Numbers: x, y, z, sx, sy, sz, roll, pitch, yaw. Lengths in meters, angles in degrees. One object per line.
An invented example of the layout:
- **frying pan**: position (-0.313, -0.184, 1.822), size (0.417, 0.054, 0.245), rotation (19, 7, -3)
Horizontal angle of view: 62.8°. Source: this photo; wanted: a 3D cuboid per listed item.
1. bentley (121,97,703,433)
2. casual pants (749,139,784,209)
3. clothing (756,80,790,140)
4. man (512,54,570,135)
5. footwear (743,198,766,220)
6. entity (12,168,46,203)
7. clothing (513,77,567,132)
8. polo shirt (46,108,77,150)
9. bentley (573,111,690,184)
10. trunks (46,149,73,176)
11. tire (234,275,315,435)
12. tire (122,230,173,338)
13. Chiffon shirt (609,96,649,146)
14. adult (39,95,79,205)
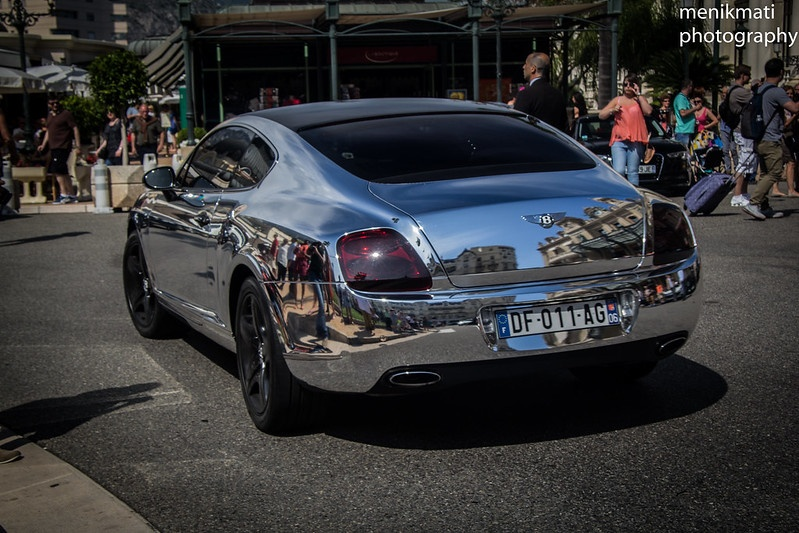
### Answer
- **bentley**: position (-0.380, -0.130, 4.562), size (2.182, 1.113, 3.329), rotation (-3, 10, -26)
- **casual pants**: position (6.732, -1.714, 11.944), size (0.446, 1.167, 0.671), rotation (6, 13, 34)
- **clothing**: position (6.862, -2.836, 11.945), size (0.521, 1.051, 0.352), rotation (3, 12, 26)
- **man**: position (2.123, -2.502, 10.237), size (0.866, 1.533, 0.986), rotation (11, 28, 36)
- **footwear**: position (6.612, -1.075, 12.167), size (0.558, 0.249, 0.212), rotation (27, -5, -16)
- **entity**: position (-10.078, -2.229, 18.158), size (1.131, 0.961, 0.967), rotation (-9, 7, -24)
- **clothing**: position (2.251, -2.534, 10.183), size (0.499, 0.907, 1.113), rotation (-18, -9, 13)
- **polo shirt**: position (-8.924, -3.625, 17.207), size (0.668, 1.047, 0.597), rotation (-10, 13, -37)
- **bentley**: position (6.070, -2.817, 16.121), size (2.336, 1.430, 4.490), rotation (0, 9, -10)
- **trunks**: position (-9.015, -2.778, 17.271), size (0.554, 0.715, 0.526), rotation (-7, 12, -25)
- **tire**: position (-0.754, 0.518, 4.077), size (0.327, 0.947, 1.002), rotation (-3, 5, -25)
- **tire**: position (-2.219, 0.149, 5.770), size (0.257, 0.737, 0.739), rotation (1, 44, -39)
- **Chiffon shirt**: position (4.119, -2.672, 11.726), size (0.652, 0.804, 0.515), rotation (-4, 9, 1)
- **adult**: position (-9.038, -3.149, 17.507), size (1.120, 2.795, 0.977), rotation (-1, 2, 35)
